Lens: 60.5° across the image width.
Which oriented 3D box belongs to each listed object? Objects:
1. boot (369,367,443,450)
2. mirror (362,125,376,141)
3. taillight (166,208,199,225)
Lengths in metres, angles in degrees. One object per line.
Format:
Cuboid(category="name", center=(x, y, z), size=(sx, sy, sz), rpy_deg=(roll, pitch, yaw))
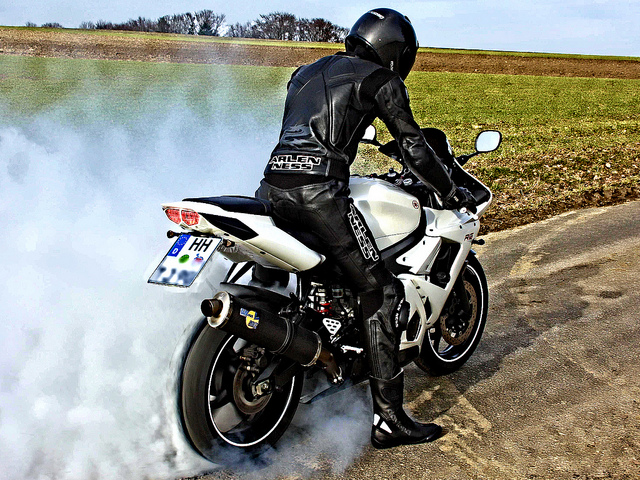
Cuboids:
Cuboid(category="boot", center=(0.568, 1.314, 4.443), size=(0.754, 0.668, 0.373), rpy_deg=(-3, 9, -11))
Cuboid(category="mirror", center=(0.423, -0.920, 4.718), size=(0.027, 0.115, 0.106), rpy_deg=(25, 79, 36))
Cuboid(category="taillight", center=(-0.909, -0.154, 3.621), size=(0.273, 0.127, 0.031), rpy_deg=(20, 35, 19))
